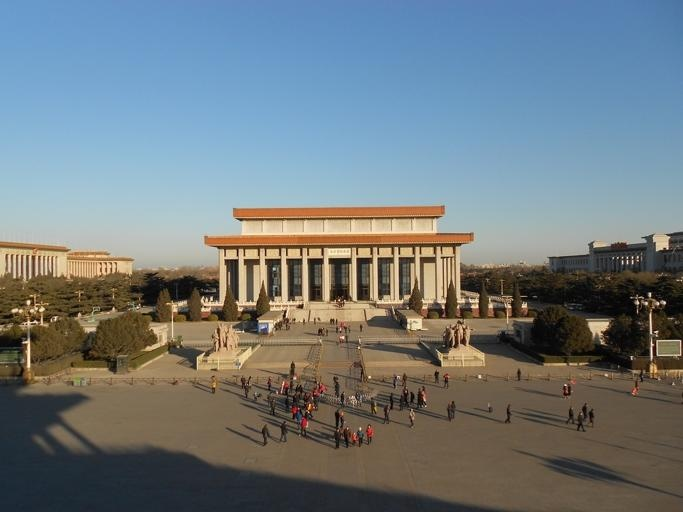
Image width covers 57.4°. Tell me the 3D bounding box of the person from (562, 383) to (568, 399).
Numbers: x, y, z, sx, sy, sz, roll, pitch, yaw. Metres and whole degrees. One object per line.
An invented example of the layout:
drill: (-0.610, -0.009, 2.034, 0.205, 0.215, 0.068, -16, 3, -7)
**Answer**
person: (16.631, 10.046, 46.142, 0.555, 0.924, 0.317, 5, -7, -3)

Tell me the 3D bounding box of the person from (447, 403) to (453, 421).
person: (7.511, 10.594, 42.594, 0.427, 0.923, 0.907, 1, 14, 8)

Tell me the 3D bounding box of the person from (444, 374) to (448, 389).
person: (8.308, 9.741, 48.887, 0.386, 1.179, 1.296, 1, 14, 9)

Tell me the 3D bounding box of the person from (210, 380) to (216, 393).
person: (-9.765, 9.942, 47.915, 0.346, 1.033, 1.479, -4, 14, -13)
